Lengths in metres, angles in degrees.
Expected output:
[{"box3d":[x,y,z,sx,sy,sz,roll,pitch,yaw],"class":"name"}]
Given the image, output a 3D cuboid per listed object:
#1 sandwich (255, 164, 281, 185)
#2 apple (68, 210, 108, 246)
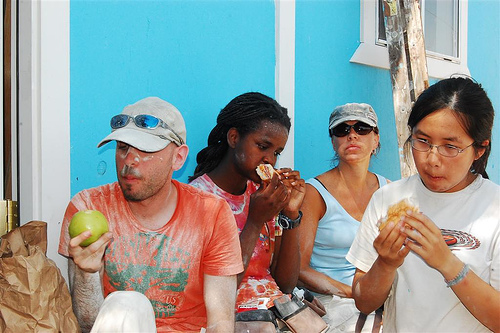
[{"box3d":[0.147,0.051,4.192,0.153,0.209,0.050,-18,-21,-12],"class":"sandwich"},{"box3d":[-1.136,0.405,3.220,0.220,0.252,0.231,-1,10,-2],"class":"apple"}]
